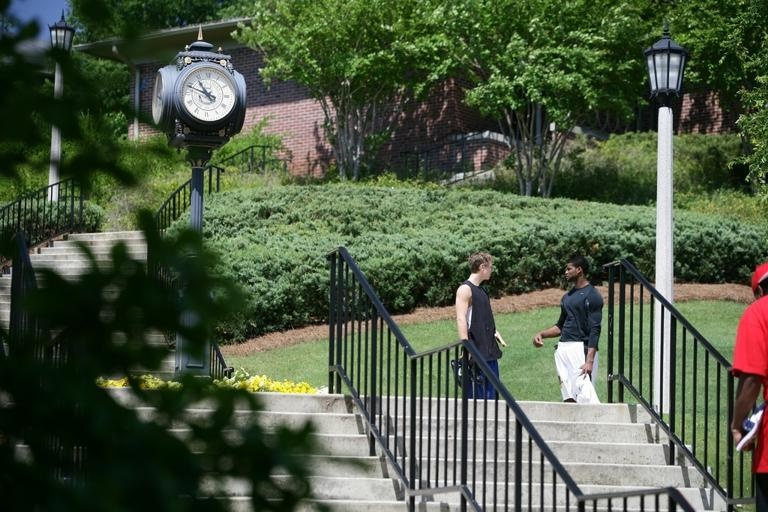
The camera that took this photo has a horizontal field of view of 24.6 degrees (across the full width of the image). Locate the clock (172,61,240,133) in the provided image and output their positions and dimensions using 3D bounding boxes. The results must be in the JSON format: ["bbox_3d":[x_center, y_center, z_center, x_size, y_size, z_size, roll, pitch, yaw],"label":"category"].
[{"bbox_3d":[-3.440,-3.048,33.344,1.337,1.255,0.508,-6,12,-26],"label":"clock"}]

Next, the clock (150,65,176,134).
[{"bbox_3d":[-3.843,-2.738,30.410,0.485,1.262,1.221,0,21,-11],"label":"clock"}]

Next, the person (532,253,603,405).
[{"bbox_3d":[3.625,1.385,32.789,0.835,2.622,1.006,-4,12,-19],"label":"person"}]

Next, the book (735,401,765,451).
[{"bbox_3d":[6.273,2.916,30.022,0.237,0.630,0.705,27,61,13],"label":"book"}]
